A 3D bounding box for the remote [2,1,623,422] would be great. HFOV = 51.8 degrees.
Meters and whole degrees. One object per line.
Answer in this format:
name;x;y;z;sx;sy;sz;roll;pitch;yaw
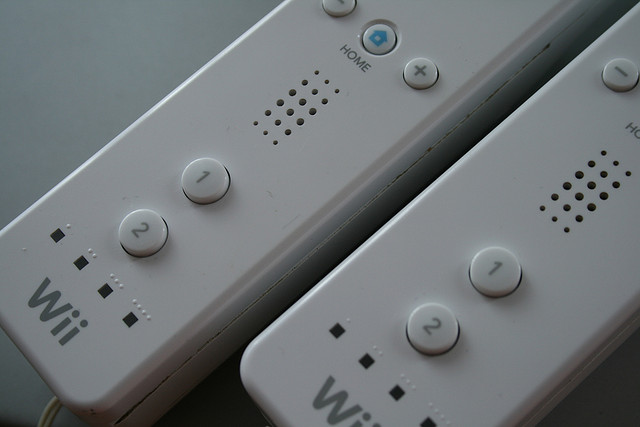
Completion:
remote;0.080;-0.136;0.911;1.007;0.307;0.180;-43;-14;-13
